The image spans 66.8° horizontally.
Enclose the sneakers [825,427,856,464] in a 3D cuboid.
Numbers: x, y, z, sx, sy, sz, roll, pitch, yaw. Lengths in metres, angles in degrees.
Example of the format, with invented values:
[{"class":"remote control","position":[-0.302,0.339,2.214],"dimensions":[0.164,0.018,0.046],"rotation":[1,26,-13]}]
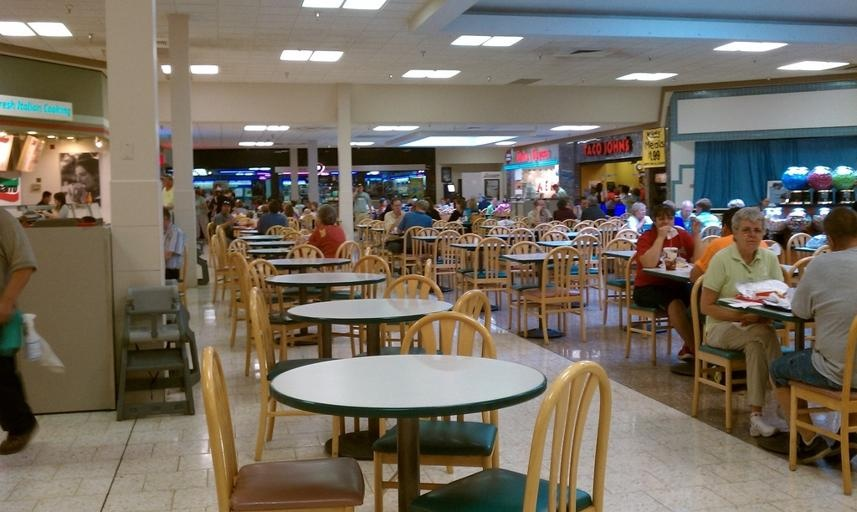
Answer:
[{"class":"sneakers","position":[3.259,1.508,5.071],"dimensions":[0.218,0.271,0.422],"rotation":[1,6,31]}]

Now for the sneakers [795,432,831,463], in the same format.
[{"class":"sneakers","position":[3.075,1.520,5.160],"dimensions":[0.279,0.208,0.203],"rotation":[-2,1,-24]}]
